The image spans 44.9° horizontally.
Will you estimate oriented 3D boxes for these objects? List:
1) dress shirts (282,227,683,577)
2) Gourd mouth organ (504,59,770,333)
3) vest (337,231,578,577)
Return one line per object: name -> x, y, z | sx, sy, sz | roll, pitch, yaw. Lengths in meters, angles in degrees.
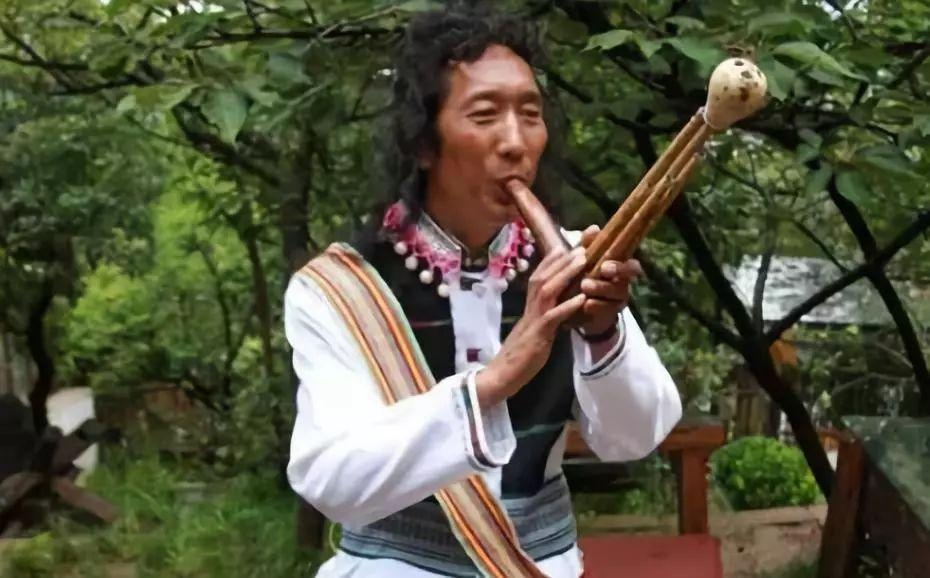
dress shirts -> -0.016, 0.471, 4.585 | 1.655, 1.608, 1.234 | 5, -10, -23
Gourd mouth organ -> 0.719, -0.409, 4.726 | 0.330, 0.282, 1.349 | 20, -61, -36
vest -> -0.042, 0.450, 4.183 | 0.214, 1.422, 0.125 | -24, -19, -23
